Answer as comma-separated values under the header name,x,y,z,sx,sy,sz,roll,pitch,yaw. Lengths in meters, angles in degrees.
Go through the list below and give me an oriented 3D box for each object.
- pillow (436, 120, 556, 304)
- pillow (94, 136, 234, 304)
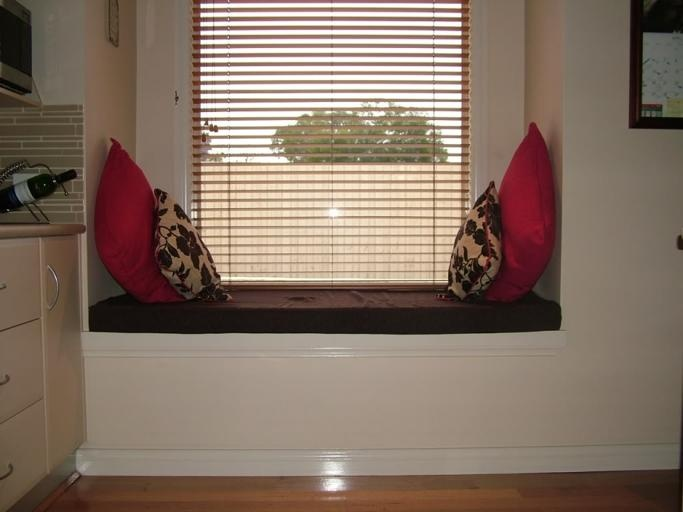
name,x,y,z,sx,sy,sz,roll,pitch,yaw
pillow,0.769,-0.198,2.893,0.443,0.828,0.313,5,13,17
pillow,-0.836,-0.217,2.859,0.198,0.724,0.623,-24,-32,16
